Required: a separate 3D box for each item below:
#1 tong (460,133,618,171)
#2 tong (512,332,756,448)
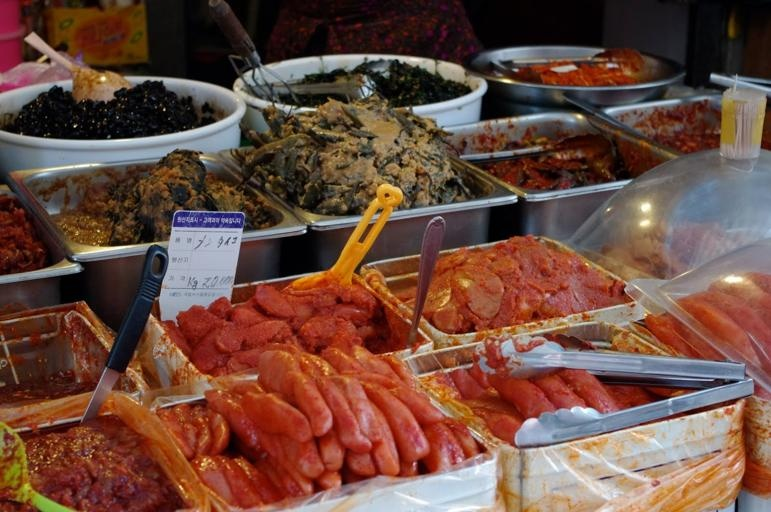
[{"bbox_3d":[0.694,-0.473,2.896,0.783,0.123,0.111,-6,44,15],"label":"tong"},{"bbox_3d":[0.574,0.308,1.485,0.424,0.113,0.262,-3,29,-8],"label":"tong"}]
